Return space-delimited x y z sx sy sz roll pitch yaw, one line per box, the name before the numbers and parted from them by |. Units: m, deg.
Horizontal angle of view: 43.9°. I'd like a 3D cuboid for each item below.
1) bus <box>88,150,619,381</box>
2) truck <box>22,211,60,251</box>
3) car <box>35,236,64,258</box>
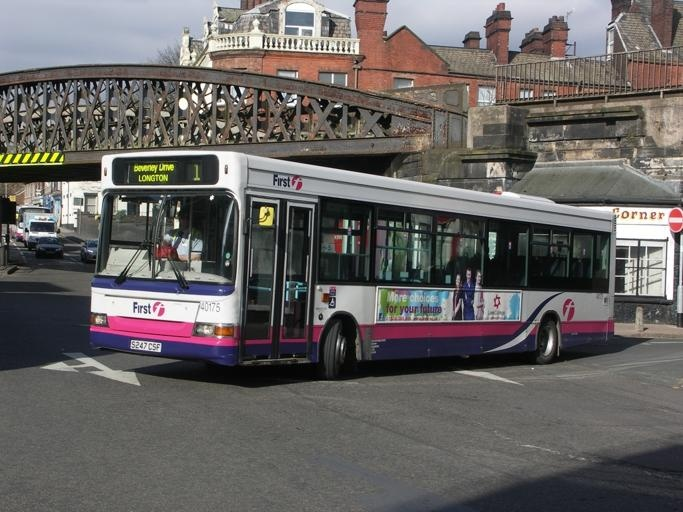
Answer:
bus | 1.204 0.300 16.845 12.413 3.899 2.588 0 3 -42
truck | -23.943 -2.515 66.544 2.816 3.454 5.926 0 -3 -15
car | -20.001 -0.599 57.774 1.661 1.357 1.668 1 2 -18
